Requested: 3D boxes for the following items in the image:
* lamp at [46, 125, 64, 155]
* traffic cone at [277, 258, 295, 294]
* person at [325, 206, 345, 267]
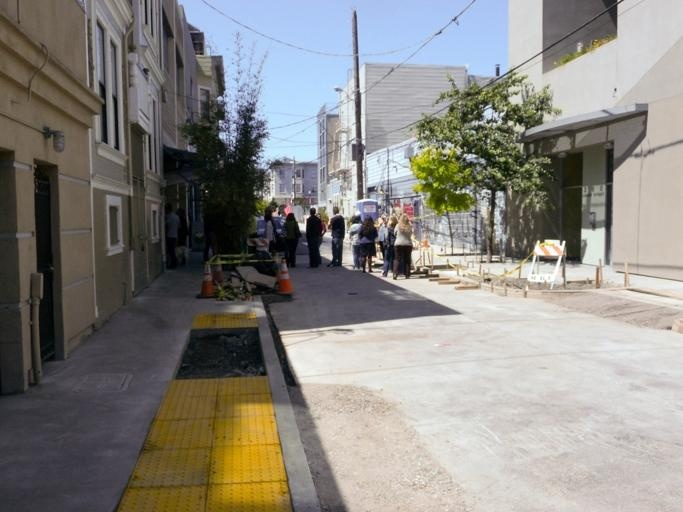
[{"bbox_3d":[-3.752,-1.524,7.499,0.205,0.437,0.231,3,5,5],"label":"lamp"},{"bbox_3d":[-1.447,0.626,15.039,0.641,1.039,0.711,-1,0,1],"label":"traffic cone"},{"bbox_3d":[-0.183,-0.682,22.531,0.551,2.324,1.242,2,7,-3],"label":"person"}]
